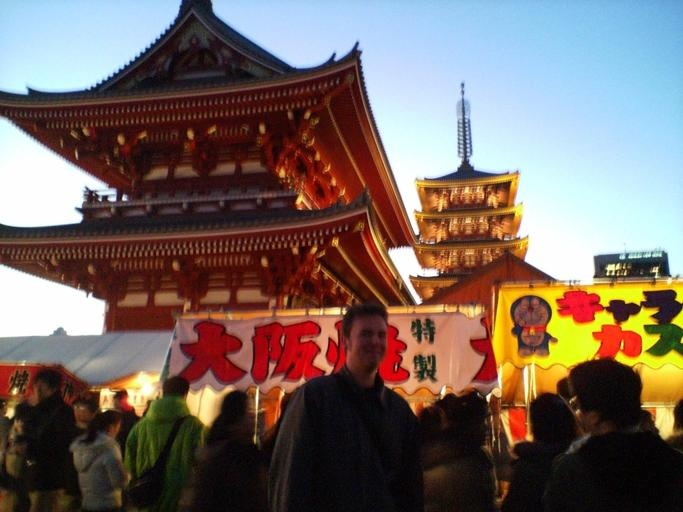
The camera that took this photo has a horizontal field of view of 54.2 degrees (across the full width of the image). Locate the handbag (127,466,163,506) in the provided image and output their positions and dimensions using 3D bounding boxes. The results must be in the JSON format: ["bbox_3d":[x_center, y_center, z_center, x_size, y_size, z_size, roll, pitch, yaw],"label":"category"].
[{"bbox_3d":[-2.084,2.409,6.959,0.426,0.414,0.234,-10,-19,34],"label":"handbag"}]
